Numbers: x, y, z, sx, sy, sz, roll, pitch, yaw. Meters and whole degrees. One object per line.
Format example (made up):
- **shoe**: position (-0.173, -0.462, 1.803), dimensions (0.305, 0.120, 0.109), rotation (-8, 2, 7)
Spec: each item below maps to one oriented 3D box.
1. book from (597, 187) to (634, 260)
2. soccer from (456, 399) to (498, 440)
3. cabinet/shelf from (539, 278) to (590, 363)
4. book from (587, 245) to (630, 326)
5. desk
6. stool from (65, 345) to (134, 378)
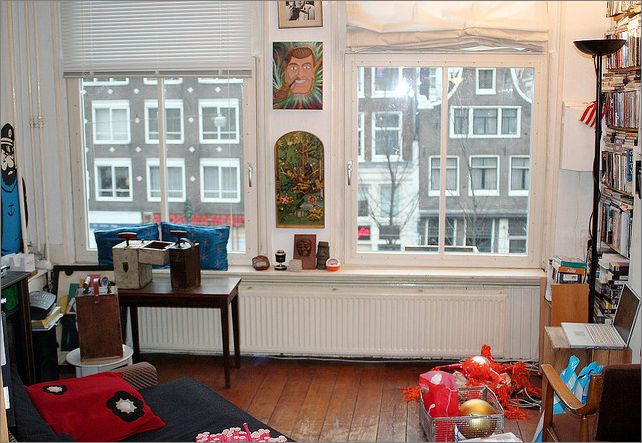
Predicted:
- **book**: position (2.290, 0.004, 4.627), dimensions (0.142, 0.438, 0.313), rotation (2, 12, -13)
- **soccer**: position (1.138, 1.451, 4.227), dimensions (0.264, 0.235, 0.155), rotation (-2, 5, 6)
- **cabinet/shelf**: position (1.959, 0.795, 4.611), dimensions (0.254, 0.692, 0.691), rotation (0, 4, 13)
- **book**: position (2.303, 0.541, 4.627), dimensions (0.160, 0.505, 0.362), rotation (0, 2, -2)
- **desk**: position (-1.193, 1.103, 5.201), dimensions (1.119, 0.967, 0.874), rotation (-1, 3, 7)
- **stool**: position (-1.712, 1.100, 4.413), dimensions (0.324, 0.216, 0.335), rotation (1, 2, 0)
